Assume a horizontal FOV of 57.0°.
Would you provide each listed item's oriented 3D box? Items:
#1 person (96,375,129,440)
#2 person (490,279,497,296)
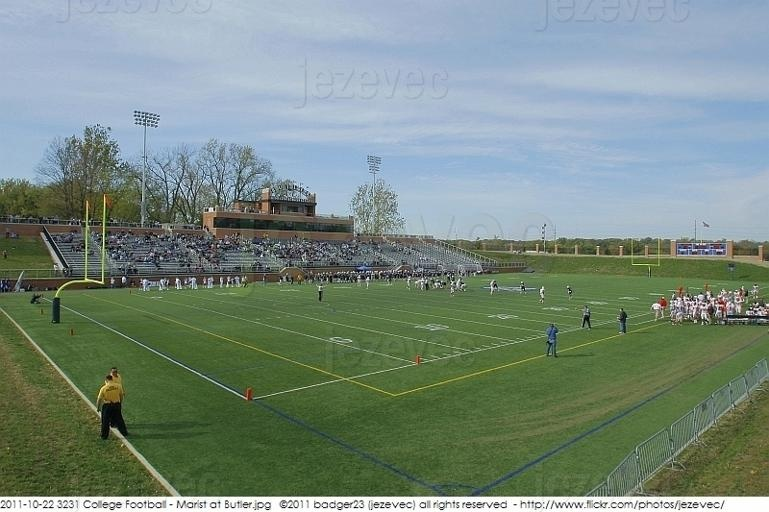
[{"bbox_3d":[-9.840,5.352,25.561,0.999,2.157,1.277,-1,7,-21],"label":"person"},{"bbox_3d":[9.778,2.829,62.942,0.521,1.299,0.816,-7,21,-9],"label":"person"}]
